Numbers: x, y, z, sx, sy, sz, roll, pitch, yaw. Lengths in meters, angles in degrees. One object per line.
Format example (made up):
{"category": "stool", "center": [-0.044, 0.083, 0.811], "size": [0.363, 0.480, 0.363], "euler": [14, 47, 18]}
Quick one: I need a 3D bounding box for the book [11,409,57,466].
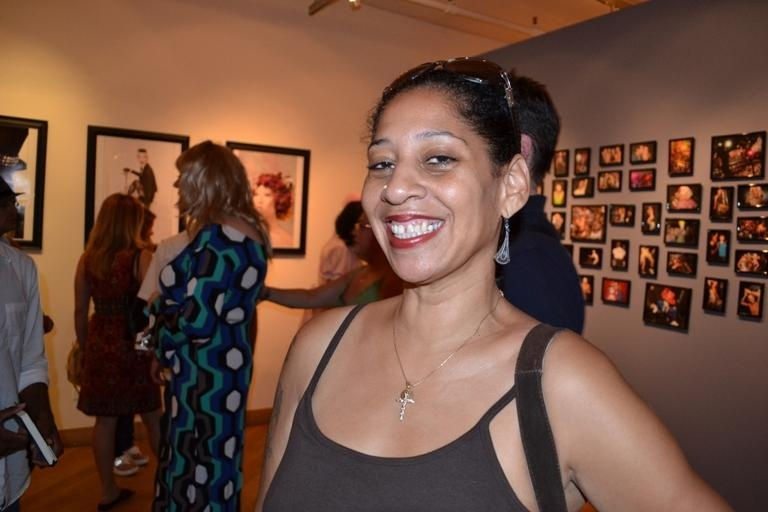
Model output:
{"category": "book", "center": [-1.802, 0.936, 3.038], "size": [0.182, 0.310, 0.168], "euler": [3, 6, -5]}
